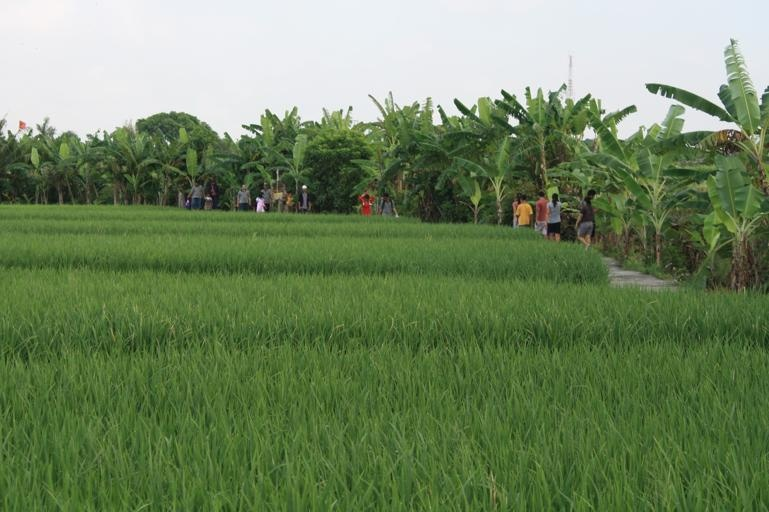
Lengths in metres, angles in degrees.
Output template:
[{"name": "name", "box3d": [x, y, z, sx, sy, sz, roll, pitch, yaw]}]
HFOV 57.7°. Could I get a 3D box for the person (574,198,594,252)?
[{"name": "person", "box3d": [3.838, -0.642, 13.259, 0.301, 0.958, 1.626, 3, 8, 16]}]
